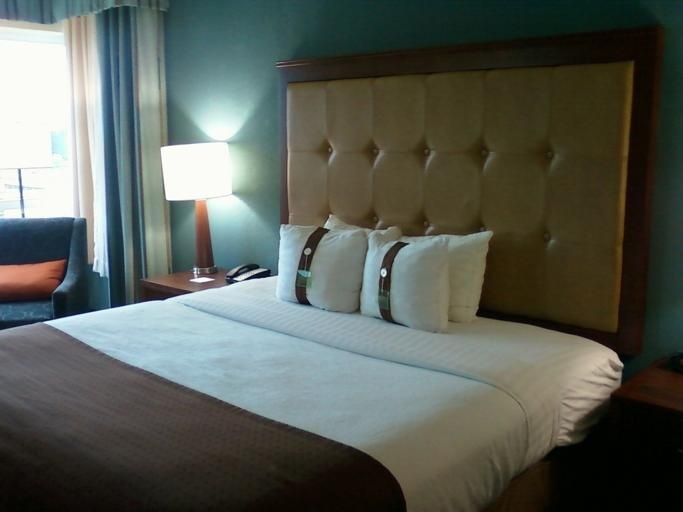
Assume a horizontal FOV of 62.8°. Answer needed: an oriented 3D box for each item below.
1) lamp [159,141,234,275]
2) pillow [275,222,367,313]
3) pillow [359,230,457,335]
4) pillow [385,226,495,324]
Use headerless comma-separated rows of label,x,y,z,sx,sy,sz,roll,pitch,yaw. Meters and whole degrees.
lamp,-0.956,-0.323,3.800,0.453,0.901,0.267,-2,10,-12
pillow,-0.118,0.060,2.864,0.582,0.417,0.227,10,10,38
pillow,0.273,0.127,2.608,0.233,0.415,0.507,-2,6,-39
pillow,0.514,0.094,2.748,0.201,0.429,0.559,-10,10,-25
